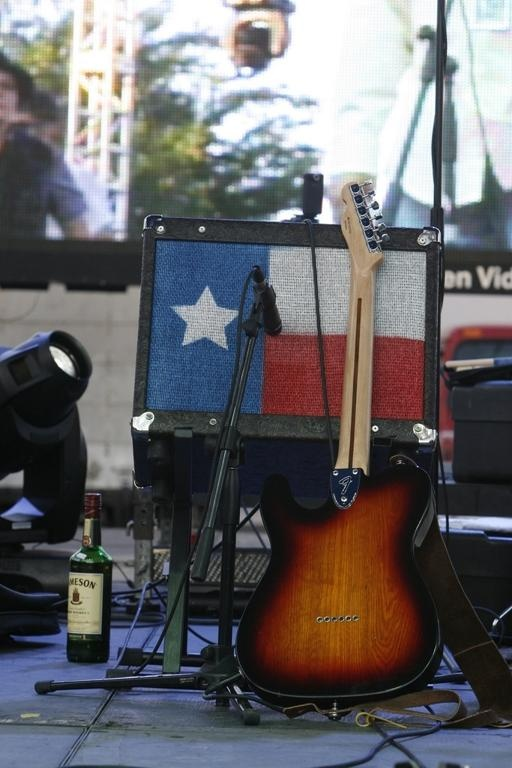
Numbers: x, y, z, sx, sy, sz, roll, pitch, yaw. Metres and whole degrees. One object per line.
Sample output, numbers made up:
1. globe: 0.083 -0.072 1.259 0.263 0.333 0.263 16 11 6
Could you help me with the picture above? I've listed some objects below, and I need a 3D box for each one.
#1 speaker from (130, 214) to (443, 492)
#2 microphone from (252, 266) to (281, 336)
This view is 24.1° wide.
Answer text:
1. speaker: 0.063 -0.064 2.360 0.516 0.202 0.465 1 73 1
2. microphone: 0.012 -0.159 2.317 0.072 0.131 0.053 -1 16 -13
